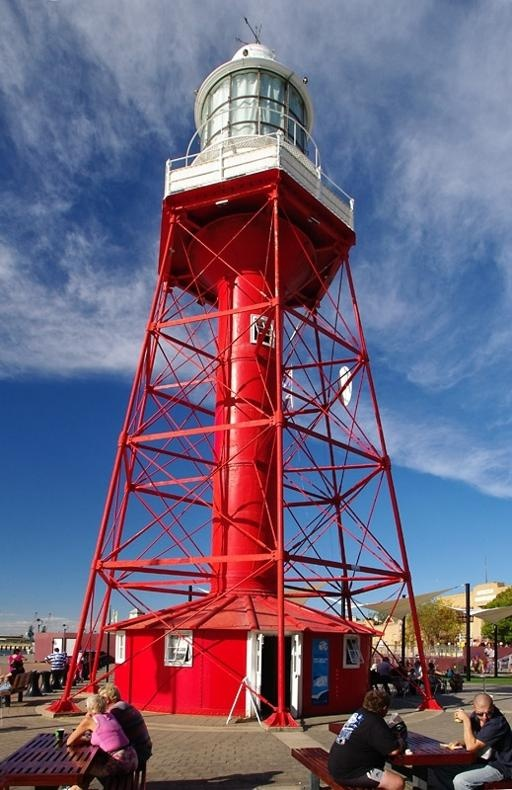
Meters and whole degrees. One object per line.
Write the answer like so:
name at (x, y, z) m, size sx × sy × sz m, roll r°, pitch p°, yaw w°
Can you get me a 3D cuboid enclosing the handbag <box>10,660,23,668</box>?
handbag at (-7.051, 7.923, 19.806) m, size 0.293 × 0.233 × 0.350 m, roll -1°, pitch 2°, yaw 4°
